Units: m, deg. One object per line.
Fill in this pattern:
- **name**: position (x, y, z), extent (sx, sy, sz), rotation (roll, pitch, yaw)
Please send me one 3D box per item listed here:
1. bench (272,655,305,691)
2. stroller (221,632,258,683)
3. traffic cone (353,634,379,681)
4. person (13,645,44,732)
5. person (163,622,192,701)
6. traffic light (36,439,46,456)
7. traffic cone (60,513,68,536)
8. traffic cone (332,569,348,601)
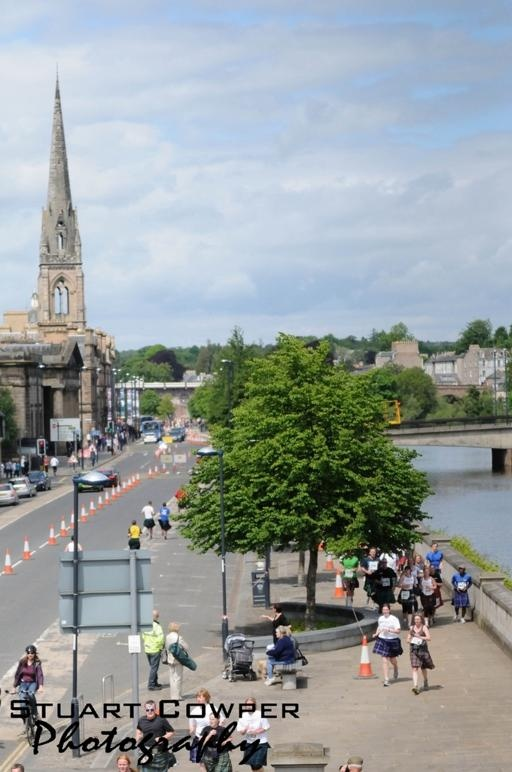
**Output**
- **bench**: position (0.604, 5.113, 32.178), extent (0.488, 0.466, 0.485), rotation (0, -1, 20)
- **stroller**: position (-0.330, 4.998, 33.386), extent (0.625, 0.959, 0.794), rotation (1, -11, -5)
- **traffic cone**: position (2.038, 4.975, 33.155), extent (0.596, 0.765, 0.610), rotation (-1, -1, -6)
- **person**: position (-3.819, 4.942, 29.791), extent (0.510, 1.254, 0.418), rotation (0, -1, 7)
- **person**: position (-1.376, 4.680, 31.018), extent (0.550, 1.406, 0.451), rotation (-2, -4, -6)
- **traffic light**: position (-12.333, 3.464, 102.578), extent (0.388, 0.962, 1.709), rotation (-2, 0, -11)
- **traffic cone**: position (-6.513, 4.649, 60.576), extent (0.456, 0.596, 0.454), rotation (0, -4, -3)
- **traffic cone**: position (2.071, 4.871, 44.013), extent (0.500, 0.638, 0.507), rotation (-1, -8, -2)
